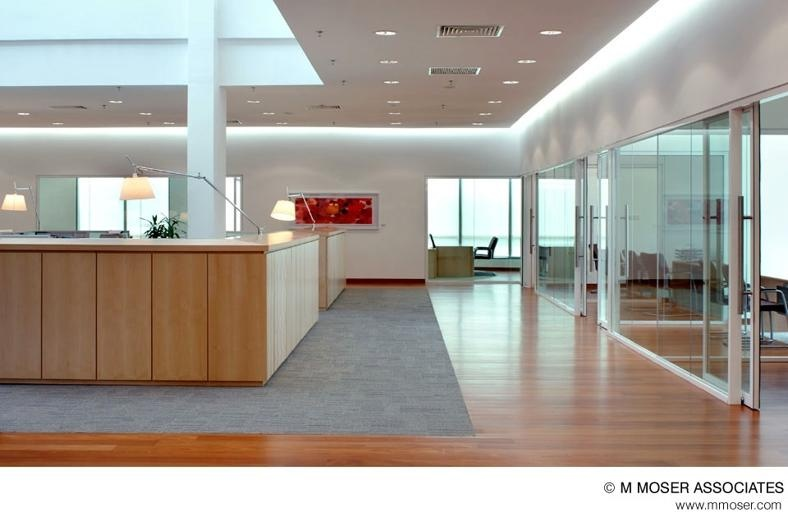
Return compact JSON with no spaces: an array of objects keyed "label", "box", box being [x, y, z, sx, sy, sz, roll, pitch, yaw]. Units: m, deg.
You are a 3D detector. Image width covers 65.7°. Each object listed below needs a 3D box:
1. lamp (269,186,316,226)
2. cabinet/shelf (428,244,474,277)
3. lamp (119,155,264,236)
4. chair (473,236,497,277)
[{"label":"lamp","box":[-1.814,-0.863,9.654,0.777,0.527,0.433,19,13,34]},{"label":"cabinet/shelf","box":[1.435,0.170,15.334,1.376,0.872,0.721,0,-1,0]},{"label":"lamp","box":[-2.429,-0.678,7.368,1.649,0.874,0.434,1,10,-25]},{"label":"chair","box":[2.272,-0.144,15.210,0.549,0.812,0.576,1,0,1]}]
